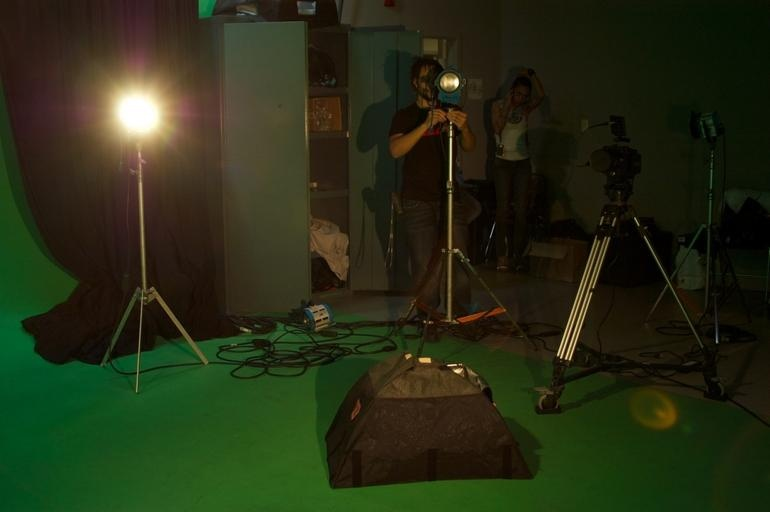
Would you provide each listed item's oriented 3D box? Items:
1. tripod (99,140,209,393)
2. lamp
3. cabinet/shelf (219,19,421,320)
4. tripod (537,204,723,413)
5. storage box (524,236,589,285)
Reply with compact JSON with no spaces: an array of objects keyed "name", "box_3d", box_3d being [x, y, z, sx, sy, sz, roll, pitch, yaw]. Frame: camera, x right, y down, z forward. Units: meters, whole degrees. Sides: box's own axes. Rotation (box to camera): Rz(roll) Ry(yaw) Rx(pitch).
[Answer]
[{"name":"tripod","box_3d":[-1.786,0.004,4.517,0.740,1.741,0.981,-4,9,-38]},{"name":"lamp","box_3d":[0.480,-0.496,5.028,0.702,2.289,0.693,-7,16,-6]},{"name":"cabinet/shelf","box_3d":[-0.648,-0.853,5.664,1.724,2.728,0.570,-5,9,-43]},{"name":"tripod","box_3d":[1.634,0.314,4.074,1.287,1.260,0.934,-3,2,4]},{"name":"storage box","box_3d":[1.979,0.067,6.904,0.590,0.424,0.412,9,4,32]}]
